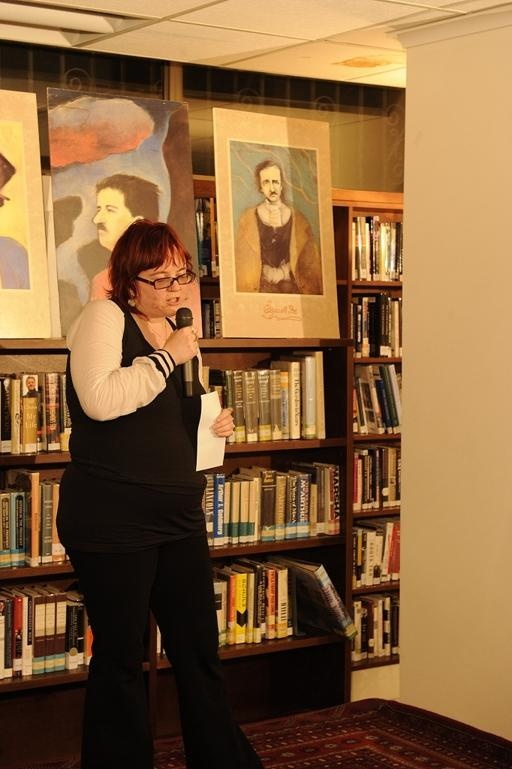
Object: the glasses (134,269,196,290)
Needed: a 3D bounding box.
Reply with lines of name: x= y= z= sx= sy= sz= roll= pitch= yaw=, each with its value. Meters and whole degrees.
glasses: x=-0.227 y=-0.236 z=1.703 sx=0.081 sy=0.024 sz=0.081 roll=2 pitch=9 yaw=41
